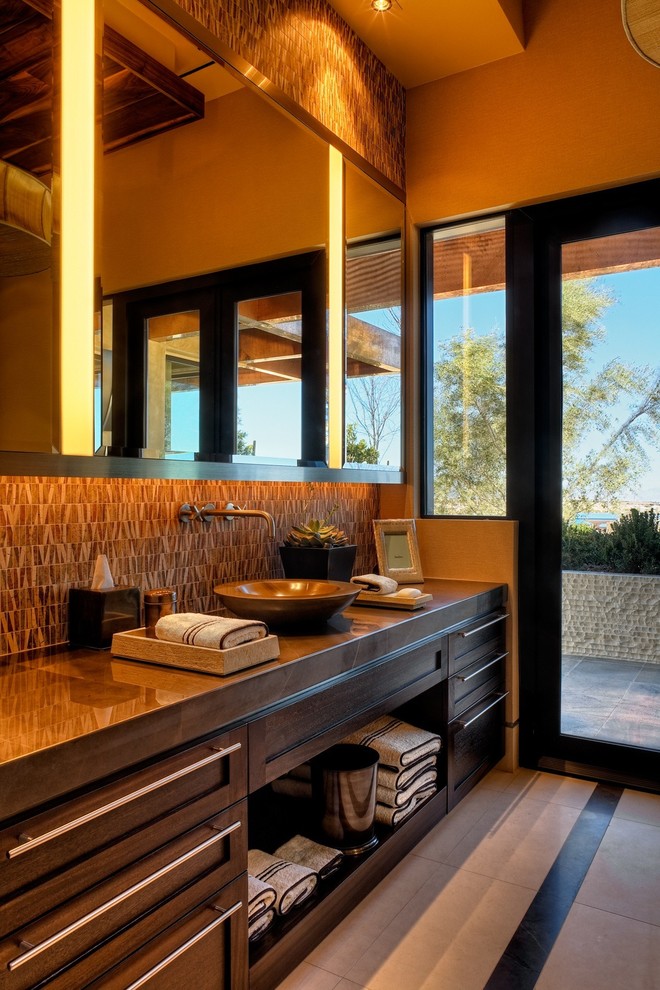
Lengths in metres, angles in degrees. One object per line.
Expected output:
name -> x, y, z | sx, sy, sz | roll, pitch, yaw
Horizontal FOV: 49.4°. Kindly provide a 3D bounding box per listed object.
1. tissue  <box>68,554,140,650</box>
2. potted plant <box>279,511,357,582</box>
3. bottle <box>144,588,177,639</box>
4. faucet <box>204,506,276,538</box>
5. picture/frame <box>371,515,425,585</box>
tissue  -> -0.515, 0.235, 1.638 | 0.105, 0.198, 0.141 | -1, 2, 32
potted plant -> -0.031, 0.187, 2.357 | 0.214, 0.301, 0.202 | 0, -7, 2
bottle -> -0.420, 0.294, 1.731 | 0.084, 0.141, 0.083 | 2, 0, 0
faucet -> -0.251, 0.075, 2.072 | 0.225, 0.121, 0.098 | -5, -4, 33
picture/frame -> 0.277, 0.232, 2.878 | 0.215, 0.280, 0.019 | 12, -26, -42
